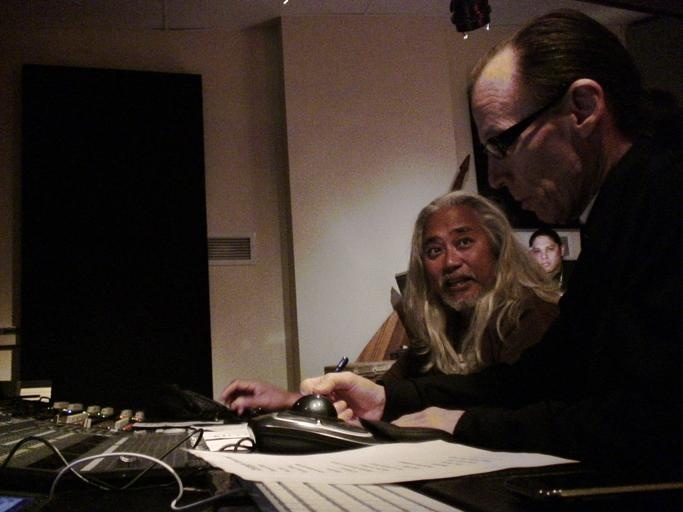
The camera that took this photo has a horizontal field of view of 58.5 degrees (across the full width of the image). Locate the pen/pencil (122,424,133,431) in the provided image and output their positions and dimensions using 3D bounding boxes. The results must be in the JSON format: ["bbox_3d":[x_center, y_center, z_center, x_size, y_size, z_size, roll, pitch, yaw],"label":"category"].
[{"bbox_3d":[-0.509,0.408,1.449,0.022,0.005,0.077,-1,-3,-13],"label":"pen/pencil"}]

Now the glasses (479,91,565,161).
[{"bbox_3d":[0.430,-0.311,1.451,0.139,0.038,0.131,-38,-6,-18],"label":"glasses"}]

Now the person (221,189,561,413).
[{"bbox_3d":[0.282,0.159,2.136,0.682,0.706,1.244,-8,-4,40],"label":"person"}]
